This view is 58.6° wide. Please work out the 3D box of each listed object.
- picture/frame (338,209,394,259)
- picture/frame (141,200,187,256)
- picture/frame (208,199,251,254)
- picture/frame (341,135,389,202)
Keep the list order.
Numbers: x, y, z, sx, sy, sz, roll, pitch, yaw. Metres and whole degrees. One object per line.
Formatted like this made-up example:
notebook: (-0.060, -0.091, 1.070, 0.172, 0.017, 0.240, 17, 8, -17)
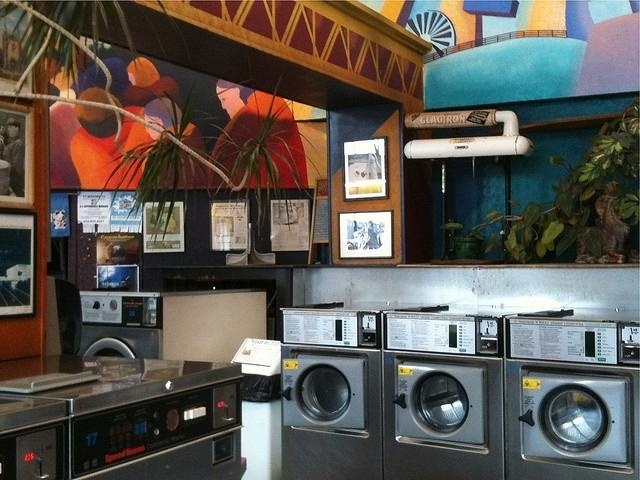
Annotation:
picture/frame: (0.420, -0.047, 4.915, 0.406, 0.351, 0.032, -2, -6, 25)
picture/frame: (-1.766, -0.106, 6.524, 0.681, 0.828, 0.039, 0, -4, -4)
picture/frame: (-1.122, -0.144, 7.154, 0.649, 0.848, 0.066, 1, -3, 6)
picture/frame: (0.411, -0.615, 4.908, 0.557, 0.767, 0.037, -1, 0, 30)
